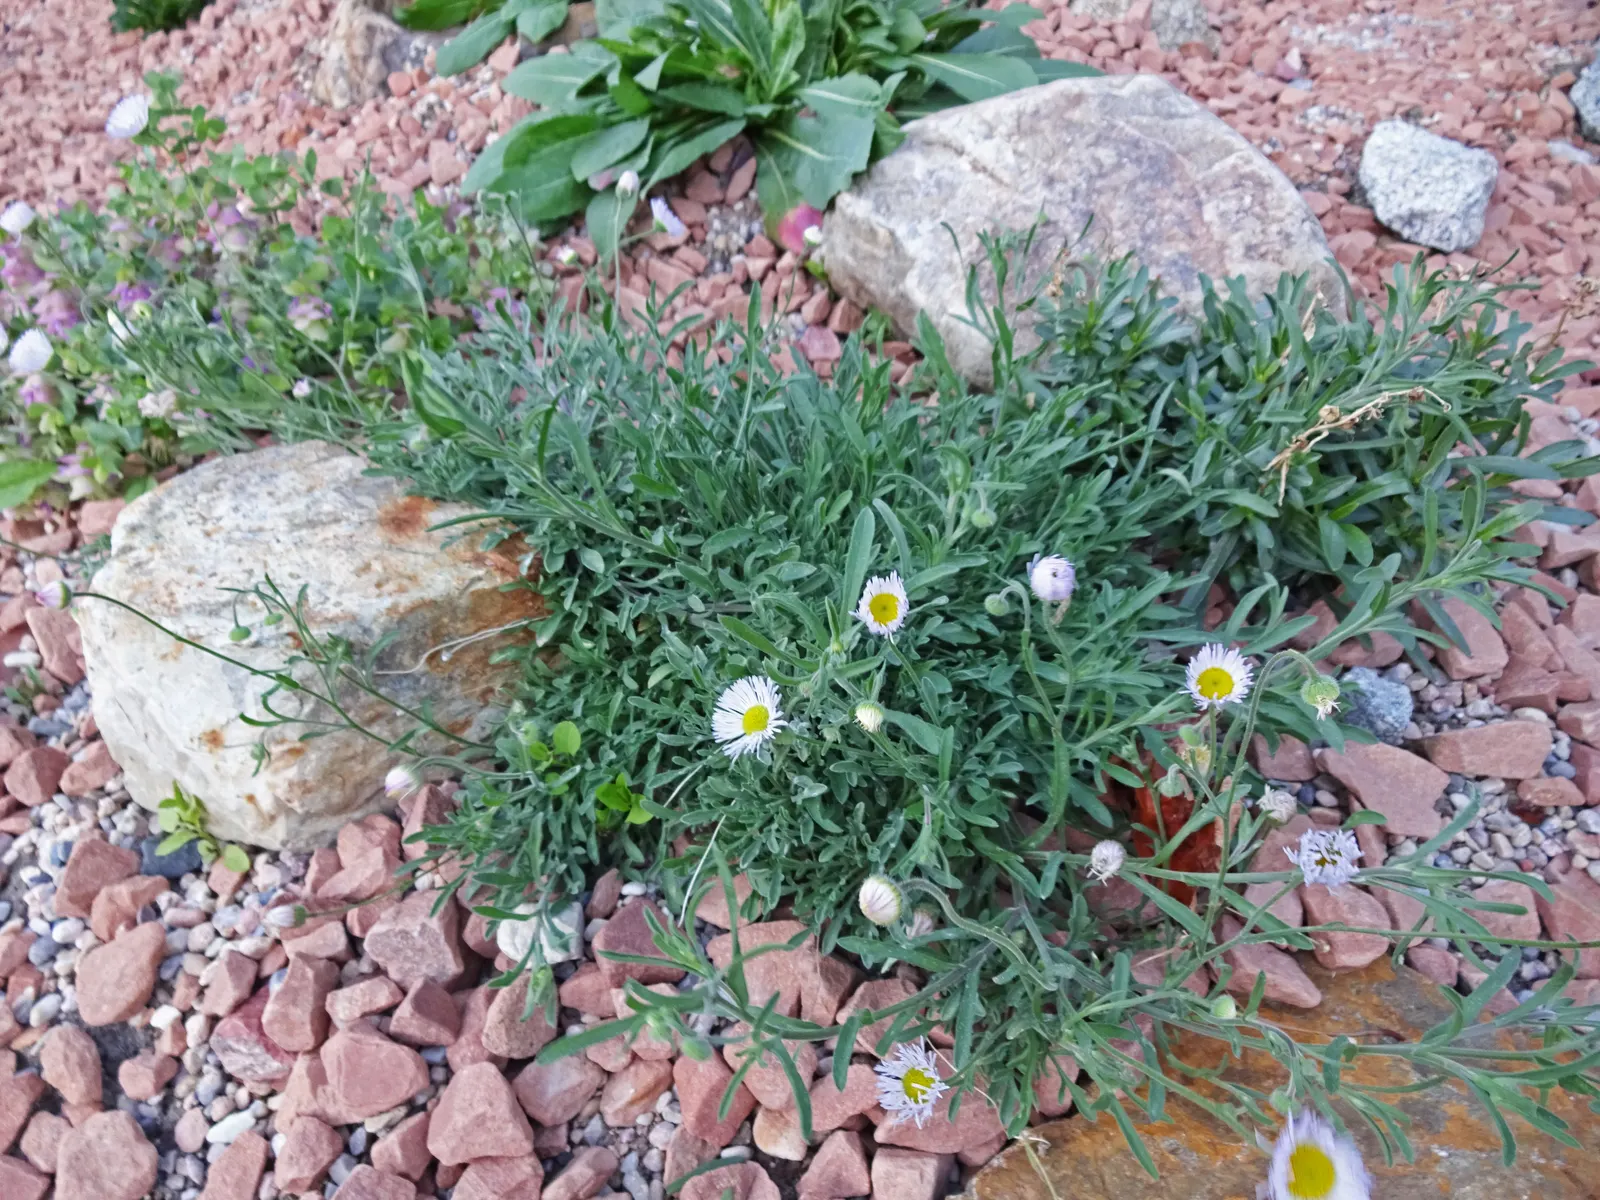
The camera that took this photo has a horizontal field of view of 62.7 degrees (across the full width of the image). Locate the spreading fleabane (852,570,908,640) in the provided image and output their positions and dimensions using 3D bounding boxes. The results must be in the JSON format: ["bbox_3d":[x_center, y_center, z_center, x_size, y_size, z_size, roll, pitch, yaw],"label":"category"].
[{"bbox_3d":[0.167,0.006,2.499,0.088,0.100,0.138,16,65,18],"label":"spreading fleabane"}]

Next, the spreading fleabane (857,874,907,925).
[{"bbox_3d":[0.151,0.535,2.350,0.068,0.084,0.065,2,61,11],"label":"spreading fleabane"}]

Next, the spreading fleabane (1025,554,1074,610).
[{"bbox_3d":[0.489,-0.034,2.535,0.087,0.073,0.095,3,70,-3],"label":"spreading fleabane"}]
